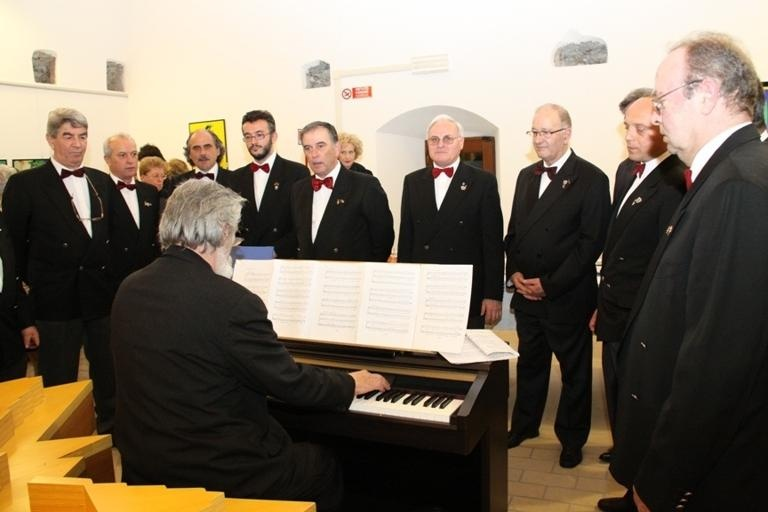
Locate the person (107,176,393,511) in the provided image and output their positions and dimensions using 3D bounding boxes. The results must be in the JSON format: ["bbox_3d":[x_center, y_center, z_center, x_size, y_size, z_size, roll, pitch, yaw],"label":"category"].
[{"bbox_3d":[-0.693,0.471,2.578,1.023,1.552,0.499,-6,13,-18],"label":"person"}]

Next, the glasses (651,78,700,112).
[{"bbox_3d":[1.123,-0.629,2.224,0.114,0.032,0.112,-32,-12,13],"label":"glasses"}]

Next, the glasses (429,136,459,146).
[{"bbox_3d":[0.405,-0.808,4.028,0.189,0.067,0.070,2,13,20],"label":"glasses"}]

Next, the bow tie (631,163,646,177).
[{"bbox_3d":[1.558,-0.529,3.534,0.026,0.067,0.070,8,10,-13],"label":"bow tie"}]

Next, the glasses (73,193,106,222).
[{"bbox_3d":[-2.134,-0.358,4.186,0.180,0.227,0.062,-17,3,-16],"label":"glasses"}]

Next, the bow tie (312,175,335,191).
[{"bbox_3d":[-0.432,-0.520,4.089,0.128,0.084,0.032,3,17,19],"label":"bow tie"}]

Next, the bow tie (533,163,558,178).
[{"bbox_3d":[1.124,-0.589,3.990,0.029,0.072,0.119,-4,8,-39],"label":"bow tie"}]

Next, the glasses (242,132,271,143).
[{"bbox_3d":[-1.025,-0.924,4.515,0.226,0.083,0.098,2,13,20],"label":"glasses"}]

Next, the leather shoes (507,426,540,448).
[{"bbox_3d":[0.990,1.298,4.148,0.285,0.101,0.094,3,-7,-36],"label":"leather shoes"}]

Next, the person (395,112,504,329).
[{"bbox_3d":[0.456,-0.225,4.100,0.767,1.499,0.423,0,13,10],"label":"person"}]
